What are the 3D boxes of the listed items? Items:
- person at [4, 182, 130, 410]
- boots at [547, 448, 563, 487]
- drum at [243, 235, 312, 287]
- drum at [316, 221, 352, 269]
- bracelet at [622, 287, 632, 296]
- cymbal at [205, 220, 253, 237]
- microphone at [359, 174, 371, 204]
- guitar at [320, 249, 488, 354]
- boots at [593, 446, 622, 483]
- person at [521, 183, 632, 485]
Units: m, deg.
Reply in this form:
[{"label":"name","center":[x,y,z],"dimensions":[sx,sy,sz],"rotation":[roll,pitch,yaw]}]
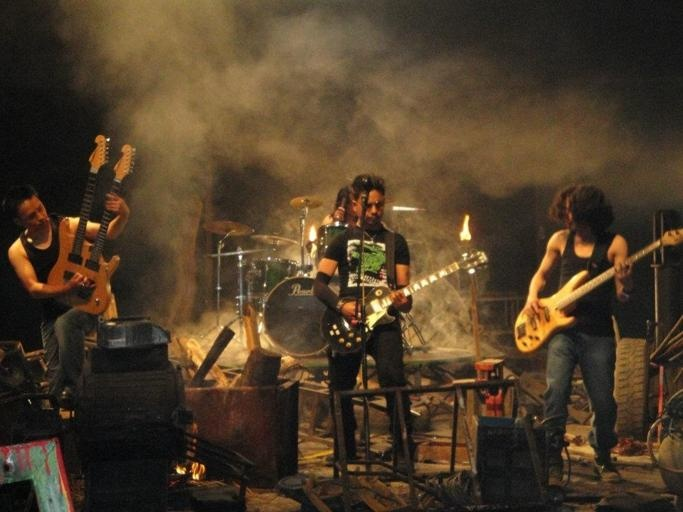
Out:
[{"label":"person","center":[-2.869,0.334,9.853],"dimensions":[0.957,2.394,0.849],"rotation":[6,4,12]},{"label":"boots","center":[2.137,2.106,9.333],"dimensions":[0.169,0.351,0.361],"rotation":[-6,-1,14]},{"label":"drum","center":[-0.884,0.123,13.000],"dimensions":[0.841,0.845,0.853],"rotation":[2,4,-11]},{"label":"drum","center":[-0.110,-0.226,12.054],"dimensions":[0.466,0.359,0.460],"rotation":[-1,-12,0]},{"label":"bracelet","center":[2.853,0.354,9.301],"dimensions":[0.077,0.079,0.019],"rotation":[23,19,5]},{"label":"cymbal","center":[-1.674,-0.410,13.904],"dimensions":[0.386,0.075,0.389],"rotation":[4,-17,-14]},{"label":"microphone","center":[0.229,-0.666,9.091],"dimensions":[0.083,0.282,0.084],"rotation":[9,-6,5]},{"label":"guitar","center":[0.763,0.585,10.940],"dimensions":[1.455,0.482,0.178],"rotation":[-29,-14,-7]},{"label":"boots","center":[2.678,2.111,9.346],"dimensions":[0.248,0.306,0.116],"rotation":[-2,-10,14]},{"label":"person","center":[2.438,0.751,9.470],"dimensions":[0.998,3.015,0.661],"rotation":[-1,-10,11]}]
